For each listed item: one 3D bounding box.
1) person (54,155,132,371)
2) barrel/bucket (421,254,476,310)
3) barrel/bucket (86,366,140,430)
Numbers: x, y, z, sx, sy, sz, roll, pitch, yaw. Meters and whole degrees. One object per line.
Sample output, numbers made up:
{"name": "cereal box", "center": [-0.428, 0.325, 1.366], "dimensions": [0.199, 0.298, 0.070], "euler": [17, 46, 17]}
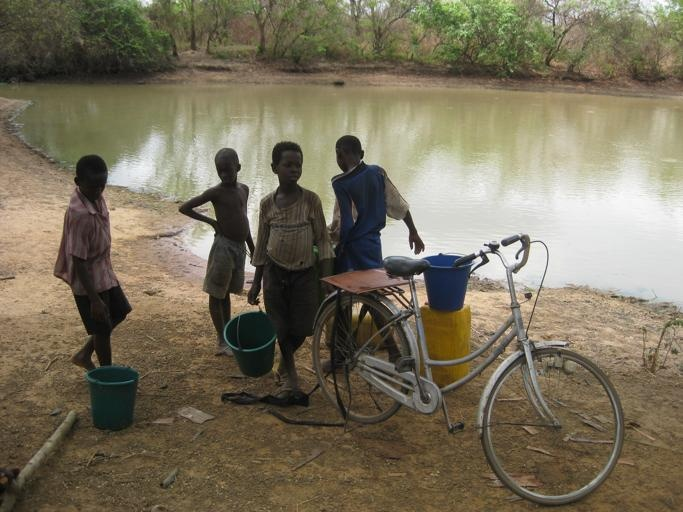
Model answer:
{"name": "person", "center": [-1.928, 0.072, 5.024], "dimensions": [0.475, 1.641, 0.413], "euler": [-13, 24, -35]}
{"name": "barrel/bucket", "center": [0.835, 0.206, 5.222], "dimensions": [0.425, 0.356, 0.398], "euler": [3, -16, 1]}
{"name": "barrel/bucket", "center": [-1.691, 1.018, 4.981], "dimensions": [0.456, 0.388, 0.444], "euler": [4, 11, -1]}
